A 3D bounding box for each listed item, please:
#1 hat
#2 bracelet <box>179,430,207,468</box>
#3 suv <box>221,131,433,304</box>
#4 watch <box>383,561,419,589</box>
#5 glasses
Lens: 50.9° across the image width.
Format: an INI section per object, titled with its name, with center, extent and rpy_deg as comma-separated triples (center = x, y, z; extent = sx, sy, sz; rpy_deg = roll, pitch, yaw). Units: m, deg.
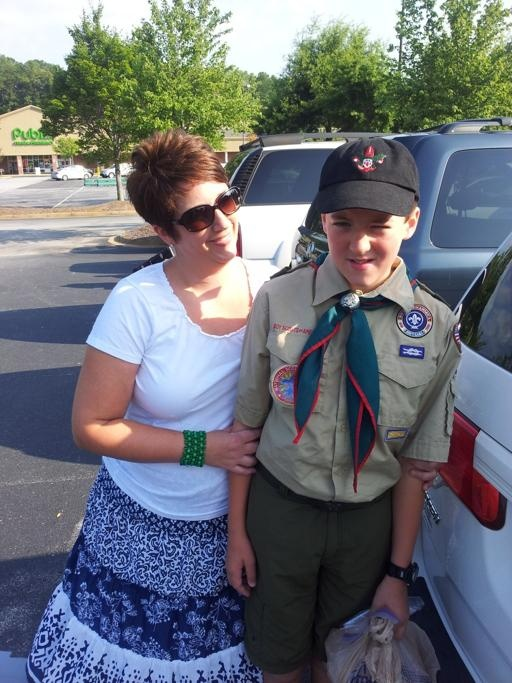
[hat]
center = 0.255, -0.366, 1.205
extent = 0.224, 0.160, 0.227
rpy_deg = 6, 23, 5
[bracelet]
center = -0.160, 0.284, 1.426
extent = 0.067, 0.098, 0.094
rpy_deg = 5, 10, 3
[suv]
center = 0.920, -1.678, 6.067
extent = 2.583, 1.274, 1.453
rpy_deg = -8, 13, -15
[watch]
center = 0.366, 0.588, 1.376
extent = 0.073, 0.042, 0.055
rpy_deg = 8, -4, 35
[glasses]
center = -0.159, -0.365, 1.509
extent = 0.220, 0.064, 0.223
rpy_deg = 8, 38, 47
